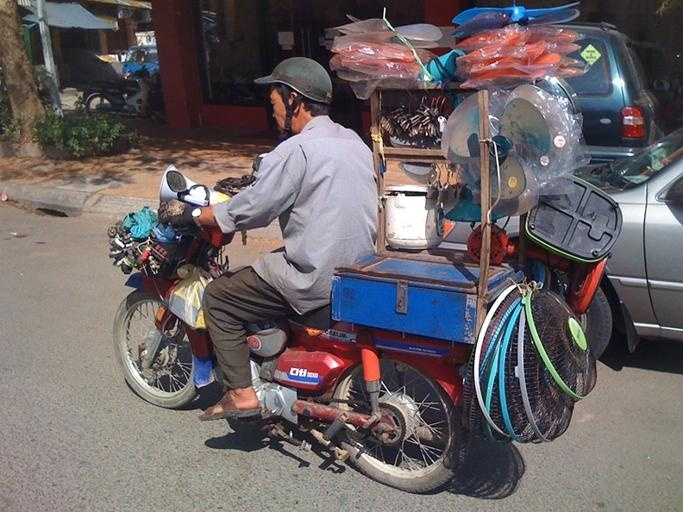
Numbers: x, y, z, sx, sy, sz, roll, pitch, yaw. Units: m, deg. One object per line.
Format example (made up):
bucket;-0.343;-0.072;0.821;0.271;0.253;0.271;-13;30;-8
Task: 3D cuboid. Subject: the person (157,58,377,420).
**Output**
person;-0.336;-0.081;3.526;1.142;2.095;0.482;-4;19;-8

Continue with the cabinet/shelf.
cabinet/shelf;0.627;-0.495;3.435;0.536;0.984;0.993;-16;24;-35

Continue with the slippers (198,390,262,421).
slippers;-0.723;0.865;3.628;0.395;0.281;0.165;1;24;-7

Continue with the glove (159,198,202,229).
glove;-0.981;-0.253;3.501;0.231;0.165;0.089;9;-13;29

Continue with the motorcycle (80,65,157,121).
motorcycle;-5.548;-4.317;15.437;2.467;1.833;1.393;-3;6;-15

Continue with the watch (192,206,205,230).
watch;-0.852;-0.237;3.445;0.054;0.102;0.095;6;-4;-2

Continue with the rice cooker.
rice cooker;0.413;-0.233;3.582;0.343;0.408;0.378;-1;1;0
